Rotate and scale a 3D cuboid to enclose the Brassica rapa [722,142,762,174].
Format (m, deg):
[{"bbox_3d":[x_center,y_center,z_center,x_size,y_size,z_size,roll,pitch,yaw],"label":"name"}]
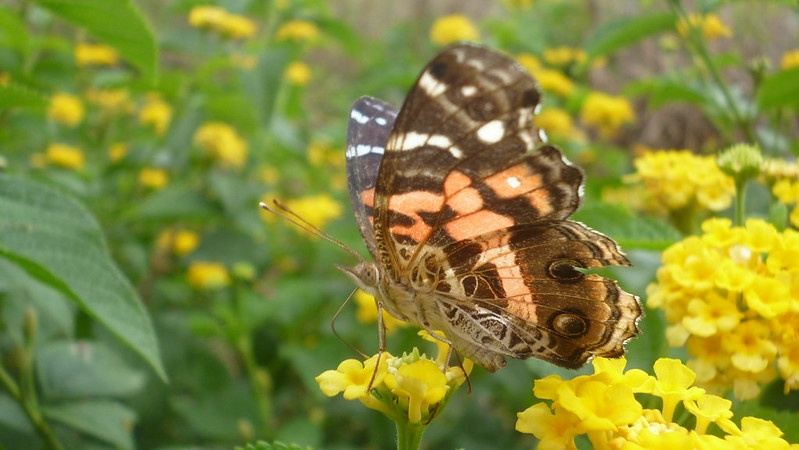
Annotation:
[{"bbox_3d":[1.110,-0.221,2.915,0.112,0.102,0.112,3,14,32],"label":"Brassica rapa"}]
